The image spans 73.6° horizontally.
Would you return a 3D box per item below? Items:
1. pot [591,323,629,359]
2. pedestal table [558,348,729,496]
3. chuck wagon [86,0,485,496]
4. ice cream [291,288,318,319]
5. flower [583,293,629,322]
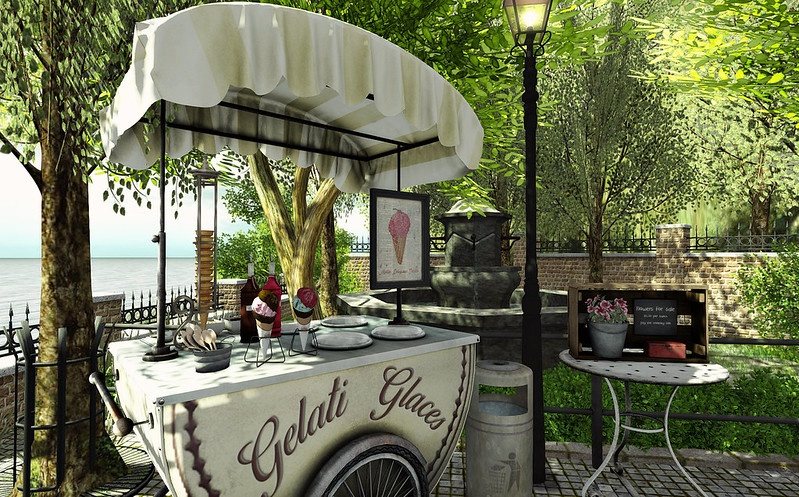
[{"bbox_3d":[2.579,1.127,6.600,0.421,0.335,0.426,0,-3,0],"label":"pot"},{"bbox_3d":[3.099,2.331,6.779,1.911,1.612,1.872,-4,-5,30],"label":"pedestal table"},{"bbox_3d":[-1.143,0.088,6.527,4.385,5.533,2.469,-5,7,-25],"label":"chuck wagon"},{"bbox_3d":[-1.062,0.620,6.235,0.296,0.356,0.304,6,5,11],"label":"ice cream"},{"bbox_3d":[2.598,0.778,6.726,0.360,0.335,0.205,1,-21,4],"label":"flower"}]
